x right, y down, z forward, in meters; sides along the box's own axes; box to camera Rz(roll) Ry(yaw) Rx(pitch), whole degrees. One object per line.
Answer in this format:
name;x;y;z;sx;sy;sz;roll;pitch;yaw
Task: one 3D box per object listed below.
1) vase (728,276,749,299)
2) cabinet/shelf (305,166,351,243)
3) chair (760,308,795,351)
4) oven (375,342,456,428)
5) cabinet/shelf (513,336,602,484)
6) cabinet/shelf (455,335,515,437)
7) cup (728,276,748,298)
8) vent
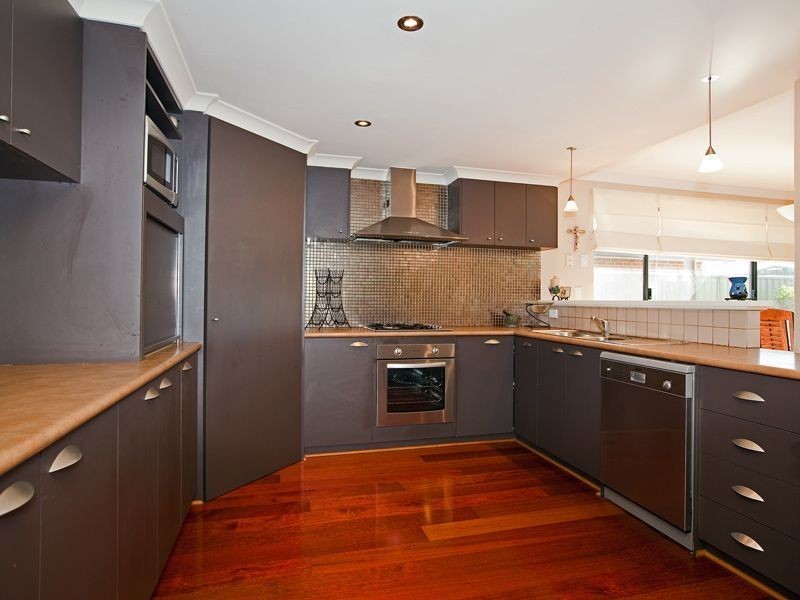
vase;2.099;-0.085;3.661;0.134;0.171;0.132;-2;2;-33
cabinet/shelf;-0.612;-0.817;5.017;0.505;0.737;0.499;1;-2;-17
chair;3.072;0.251;4.729;0.196;0.343;0.849;5;10;27
oven;0.118;0.657;4.887;0.646;0.691;0.472;-1;8;-5
cabinet/shelf;1.167;0.801;4.205;0.360;0.806;0.934;2;-2;-14
cabinet/shelf;0.775;0.694;5.049;0.469;0.776;0.457;2;-4;0
cup;2.104;-0.086;3.665;0.131;0.166;0.128;-1;3;0
vent;-0.017;-0.831;5.332;0.961;0.758;1.280;0;-5;0
